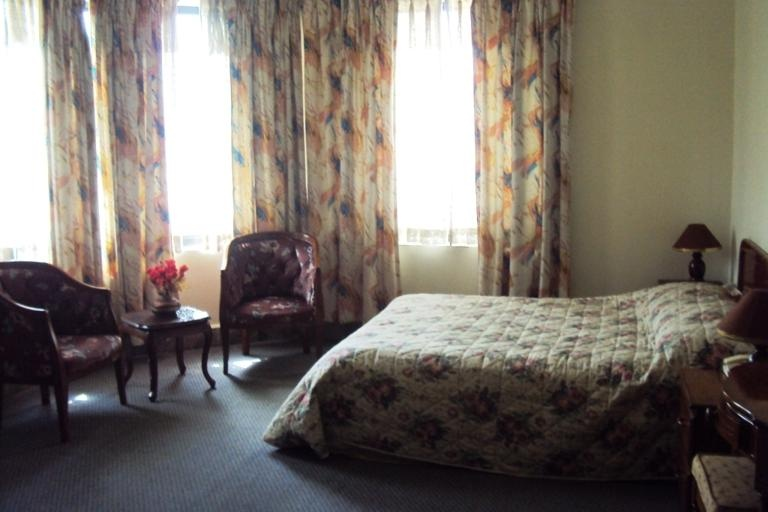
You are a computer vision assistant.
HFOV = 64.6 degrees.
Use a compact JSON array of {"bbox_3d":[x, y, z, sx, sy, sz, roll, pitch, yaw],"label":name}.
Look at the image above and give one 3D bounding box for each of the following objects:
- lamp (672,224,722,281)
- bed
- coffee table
[{"bbox_3d":[2.674,-0.078,5.460,0.435,0.599,0.482,-3,8,2],"label":"lamp"},{"bbox_3d":[0.881,0.829,4.309,2.780,1.078,1.160,0,8,11],"label":"bed"},{"bbox_3d":[-1.777,0.791,5.147,0.753,0.709,0.736,-3,7,-17],"label":"coffee table"}]
